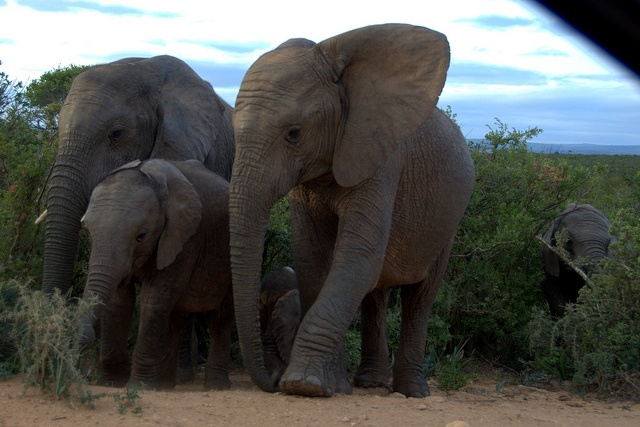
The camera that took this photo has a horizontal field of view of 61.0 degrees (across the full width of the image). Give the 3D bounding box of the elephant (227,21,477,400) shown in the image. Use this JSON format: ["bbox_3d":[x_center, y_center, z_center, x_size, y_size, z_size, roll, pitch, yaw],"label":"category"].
[{"bbox_3d":[0.441,0.096,5.996,2.821,4.088,1.970,8,-6,-42],"label":"elephant"}]

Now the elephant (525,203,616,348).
[{"bbox_3d":[4.359,0.830,9.281,1.100,2.103,1.843,2,-5,23],"label":"elephant"}]

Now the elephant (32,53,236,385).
[{"bbox_3d":[-2.408,-0.285,9.050,1.987,4.113,4.744,11,12,29],"label":"elephant"}]
